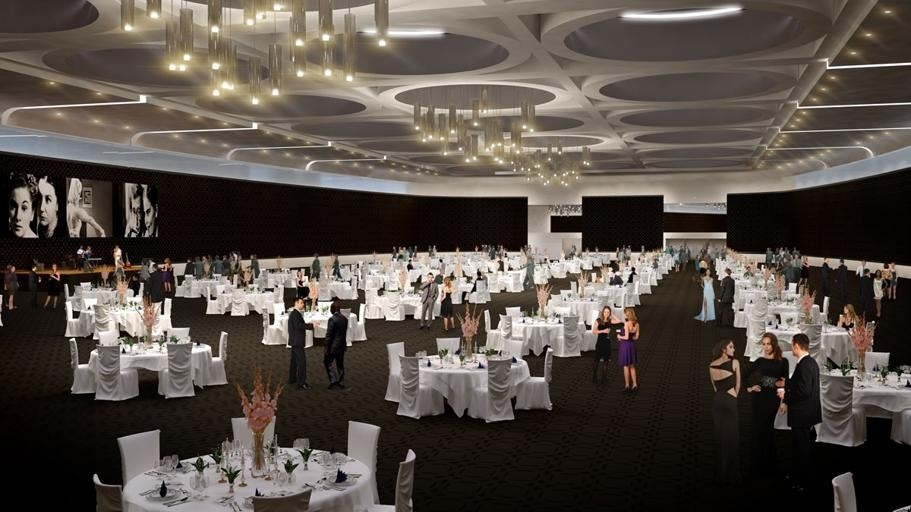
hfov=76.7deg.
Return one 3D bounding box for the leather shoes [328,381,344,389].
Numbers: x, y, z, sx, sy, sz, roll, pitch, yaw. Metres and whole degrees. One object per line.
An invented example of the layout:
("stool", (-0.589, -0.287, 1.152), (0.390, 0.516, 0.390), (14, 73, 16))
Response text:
("leather shoes", (-2.840, 3.055, 13.503), (0.390, 0.262, 0.130), (1, -8, 2))
